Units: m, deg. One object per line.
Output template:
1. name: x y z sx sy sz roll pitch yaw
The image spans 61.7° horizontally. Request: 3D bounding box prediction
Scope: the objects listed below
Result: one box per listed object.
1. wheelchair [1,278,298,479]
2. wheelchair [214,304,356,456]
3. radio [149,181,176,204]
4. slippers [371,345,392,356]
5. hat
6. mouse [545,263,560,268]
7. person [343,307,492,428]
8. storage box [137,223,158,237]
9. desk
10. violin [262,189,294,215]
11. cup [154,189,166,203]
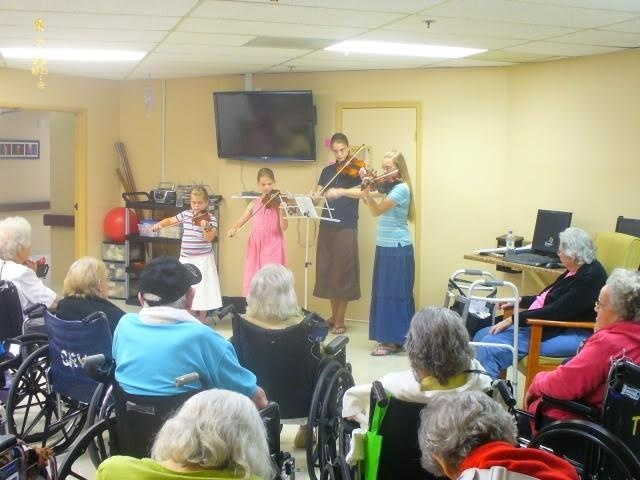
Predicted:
1. wheelchair: -1.415 0.881 3.757 1.068 1.179 1.582 3 12 24
2. wheelchair: -0.163 0.691 3.064 0.567 0.833 0.656 2 28 23
3. radio: -1.963 -0.594 6.732 0.323 0.247 0.186 3 1 33
4. slippers: 0.619 1.077 5.212 0.163 0.062 0.089 6 -10 -30
5. hat: -0.722 0.181 2.657 0.183 0.140 0.279 8 26 16
6. mouse: 1.993 0.218 4.579 0.090 0.029 0.056 -3 4 -32
7. person: 0.427 0.507 2.533 0.502 0.748 0.604 -1 5 -1
8. storage box: -2.125 -0.132 6.661 0.327 0.165 0.224 1 3 7
9. desk: 1.900 0.298 4.973 0.537 0.538 0.541 -6 8 -31
10. violin: -0.428 -0.369 5.319 0.243 0.134 0.409 -5 4 -7
11. cup: -1.968 -0.549 6.613 0.137 0.183 0.067 4 7 26
